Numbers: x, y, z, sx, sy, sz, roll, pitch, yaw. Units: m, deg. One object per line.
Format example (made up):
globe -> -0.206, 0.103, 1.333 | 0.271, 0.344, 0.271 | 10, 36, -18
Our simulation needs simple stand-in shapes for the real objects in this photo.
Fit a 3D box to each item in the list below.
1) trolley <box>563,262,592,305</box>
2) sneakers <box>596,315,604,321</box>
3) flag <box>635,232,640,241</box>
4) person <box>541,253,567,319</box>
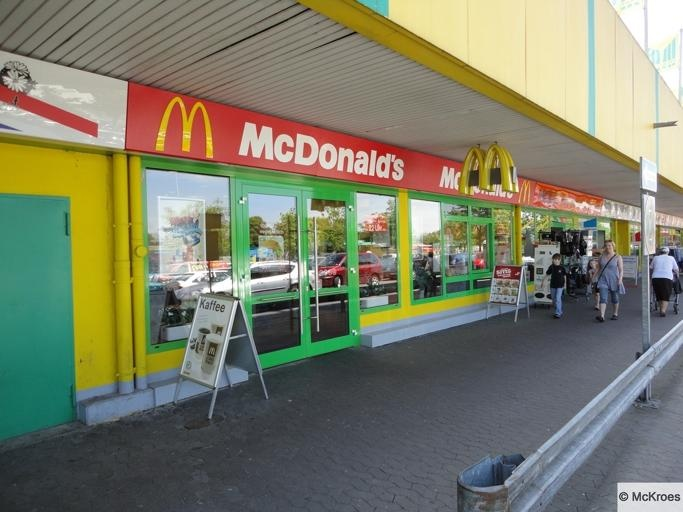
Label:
trolley -> 7.619, 0.748, 15.345 | 1.144, 1.087, 1.722 | 7, 16, 20
sneakers -> 6.034, 1.476, 10.957 | 0.155, 0.132, 0.228 | 4, 8, 29
flag -> 16.768, -1.160, 26.635 | 0.566, 0.553, 0.290 | -3, 4, -41
person -> 5.472, 0.725, 12.031 | 0.437, 1.686, 1.526 | 3, 8, 25
